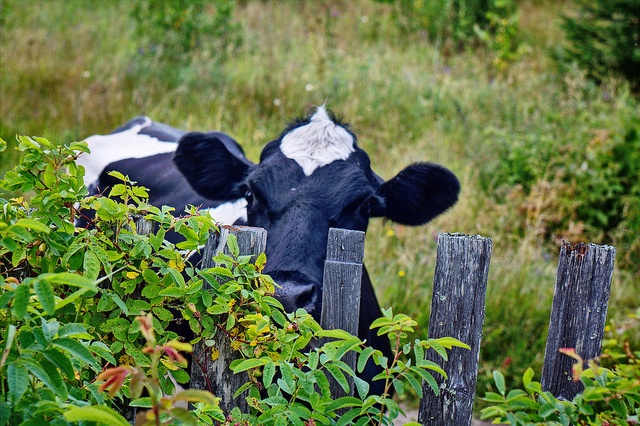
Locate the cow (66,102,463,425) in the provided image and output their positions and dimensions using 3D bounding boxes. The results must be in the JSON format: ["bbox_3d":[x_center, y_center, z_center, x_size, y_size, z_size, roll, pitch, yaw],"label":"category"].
[{"bbox_3d":[0.301,0.582,14.378,2.311,3.716,6.597,7,10,11],"label":"cow"}]
